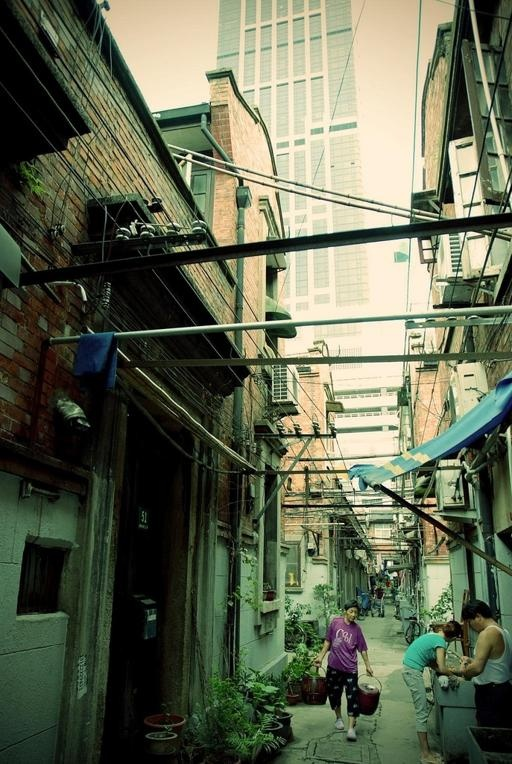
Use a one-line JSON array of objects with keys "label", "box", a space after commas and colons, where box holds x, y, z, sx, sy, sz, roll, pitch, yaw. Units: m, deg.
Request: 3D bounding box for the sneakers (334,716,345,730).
[{"label": "sneakers", "box": [1.076, 4.452, 8.514, 0.081, 0.093, 0.220, 3, -19, 3]}]

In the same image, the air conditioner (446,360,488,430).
[{"label": "air conditioner", "box": [2.841, 0.145, 8.775, 0.489, 0.866, 0.654, -7, -22, 19]}]

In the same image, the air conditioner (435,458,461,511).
[{"label": "air conditioner", "box": [3.029, 1.651, 10.320, 0.311, 0.759, 1.799, -4, -22, 11]}]
